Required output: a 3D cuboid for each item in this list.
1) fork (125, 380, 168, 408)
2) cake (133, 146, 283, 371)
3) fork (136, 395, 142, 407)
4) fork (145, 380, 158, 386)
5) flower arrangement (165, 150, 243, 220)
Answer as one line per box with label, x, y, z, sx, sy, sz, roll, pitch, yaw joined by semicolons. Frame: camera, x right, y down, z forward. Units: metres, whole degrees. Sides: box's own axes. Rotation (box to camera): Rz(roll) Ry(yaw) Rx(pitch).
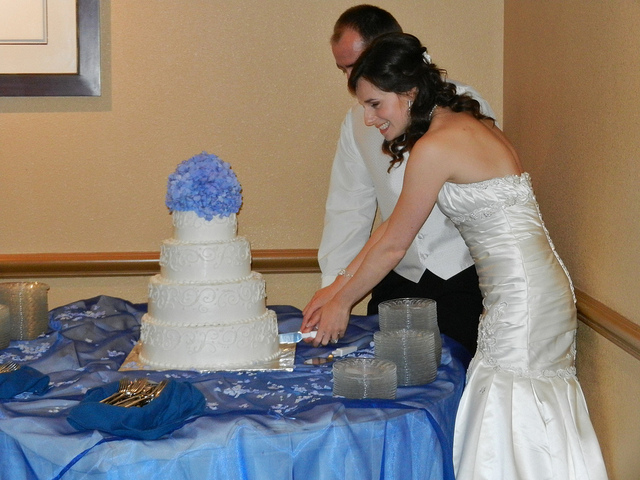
fork;-0.576;0.512;2.044;0.021;0.020;0.145;35;22;12
cake;-0.498;0.086;2.784;0.601;0.893;0.669;-3;1;31
fork;-0.589;0.525;2.010;0.018;0.033;0.078;0;-13;-17
fork;-0.593;0.501;2.167;0.025;0.009;0.030;0;-2;12
flower arrangement;-0.486;-0.298;2.635;0.229;0.185;0.248;-2;8;-4
